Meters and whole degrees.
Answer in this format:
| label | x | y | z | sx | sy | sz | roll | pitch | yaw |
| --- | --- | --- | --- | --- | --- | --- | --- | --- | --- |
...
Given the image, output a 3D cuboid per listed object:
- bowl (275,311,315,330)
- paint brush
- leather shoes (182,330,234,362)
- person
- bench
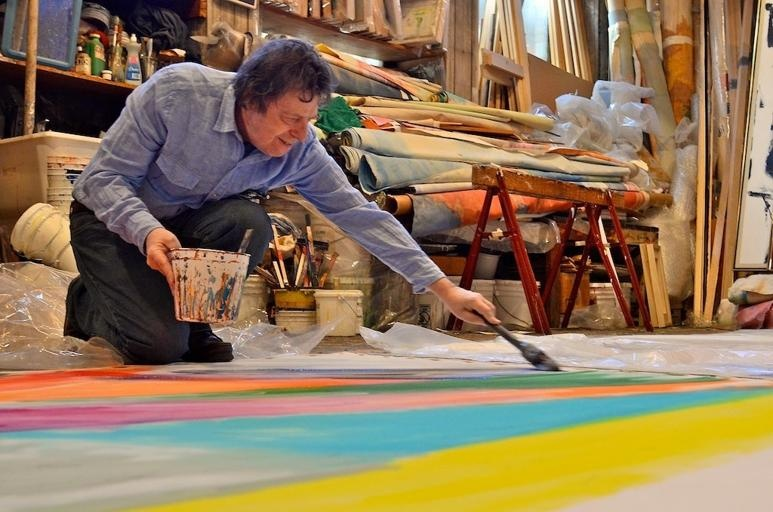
| label | x | y | z | sx | sy | sz | roll | pitch | yaw |
| --- | --- | --- | --- | --- | --- | --- | --- | --- | --- |
| bowl | -0.476 | 0.326 | 3.237 | 0.163 | 0.087 | 0.155 | 0 | -1 | 0 |
| paint brush | 0.360 | 0.254 | 1.904 | 0.308 | 0.088 | 0.088 | 31 | 32 | 20 |
| leather shoes | -0.575 | 0.292 | 2.049 | 0.193 | 0.076 | 0.073 | -14 | -16 | 43 |
| person | -0.423 | -0.108 | 2.063 | 1.468 | 1.094 | 0.847 | 10 | 15 | 7 |
| bench | 0.859 | 0.012 | 3.618 | 1.761 | 0.847 | 0.598 | 3 | -3 | -40 |
